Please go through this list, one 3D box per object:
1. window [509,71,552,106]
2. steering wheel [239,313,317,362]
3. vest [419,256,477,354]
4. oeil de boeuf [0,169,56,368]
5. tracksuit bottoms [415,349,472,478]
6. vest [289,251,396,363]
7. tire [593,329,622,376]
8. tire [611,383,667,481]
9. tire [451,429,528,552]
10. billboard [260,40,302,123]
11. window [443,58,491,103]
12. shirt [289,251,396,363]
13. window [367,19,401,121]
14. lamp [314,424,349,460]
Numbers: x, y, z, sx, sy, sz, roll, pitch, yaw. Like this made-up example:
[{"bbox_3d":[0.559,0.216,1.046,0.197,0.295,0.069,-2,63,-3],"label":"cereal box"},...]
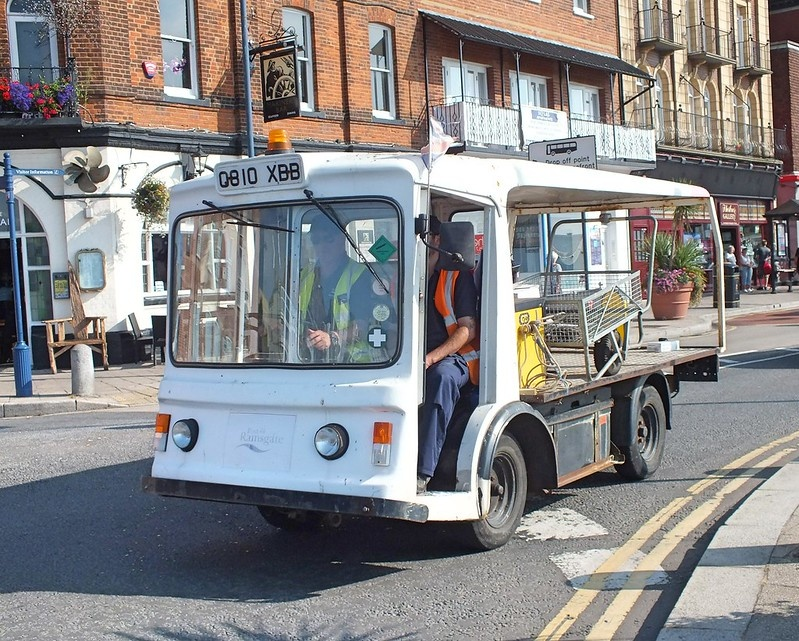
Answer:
[{"bbox_3d":[4.276,-7.740,28.281,0.107,1.038,1.436,-2,1,35],"label":"window"},{"bbox_3d":[-0.866,0.147,5.955,0.341,0.415,0.089,1,0,24],"label":"steering wheel"},{"bbox_3d":[0.366,-0.154,6.312,0.216,0.772,0.630,-8,25,-26],"label":"vest"},{"bbox_3d":[-7.075,-1.239,16.444,0.847,4.138,6.401,-2,5,-24],"label":"oeil de boeuf"},{"bbox_3d":[0.335,0.573,5.891,0.221,0.964,0.848,11,-6,-3],"label":"tracksuit bottoms"},{"bbox_3d":[-0.371,-0.083,5.787,0.629,0.869,0.049,1,-29,-5],"label":"vest"},{"bbox_3d":[1.803,0.287,7.481,0.070,0.263,0.261,4,47,32],"label":"tire"},{"bbox_3d":[2.181,1.032,7.875,0.241,0.964,0.756,4,5,42],"label":"tire"},{"bbox_3d":[0.611,1.196,6.005,0.245,0.977,0.754,0,-2,34],"label":"tire"},{"bbox_3d":[-2.673,-5.378,19.228,1.147,1.590,0.320,2,5,37],"label":"billboard"},{"bbox_3d":[2.082,-7.353,26.307,1.378,1.060,0.108,10,15,20],"label":"window"},{"bbox_3d":[-0.359,-0.082,5.784,0.639,0.841,0.049,2,-31,-8],"label":"shirt"},{"bbox_3d":[-0.505,-7.034,23.784,1.024,2.763,0.338,-5,7,-41],"label":"window"},{"bbox_3d":[-0.435,0.796,5.553,0.220,0.225,0.071,0,4,14],"label":"lamp"}]
